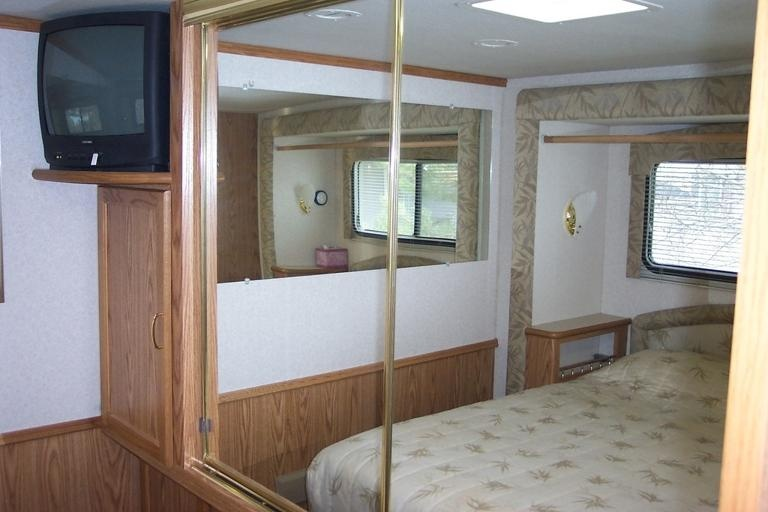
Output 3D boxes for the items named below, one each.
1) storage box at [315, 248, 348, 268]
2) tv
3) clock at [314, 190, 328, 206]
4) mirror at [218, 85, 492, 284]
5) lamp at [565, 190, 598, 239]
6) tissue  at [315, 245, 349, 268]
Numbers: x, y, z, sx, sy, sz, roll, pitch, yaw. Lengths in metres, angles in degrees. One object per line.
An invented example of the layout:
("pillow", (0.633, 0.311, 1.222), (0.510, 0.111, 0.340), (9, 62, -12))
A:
("storage box", (-0.239, 0.000, 2.605), (0.116, 0.067, 0.113), (-4, 10, -33))
("tv", (-1.223, -0.743, 2.715), (0.797, 0.685, 0.422), (7, 9, 25))
("clock", (-0.281, -0.259, 2.531), (0.073, 0.067, 0.017), (-6, 4, -4))
("mirror", (-0.317, -0.303, 3.101), (1.660, 0.795, 0.978), (-3, 1, -17))
("lamp", (0.884, -0.183, 2.526), (0.147, 0.188, 0.051), (12, -6, 4))
("tissue ", (-0.240, 0.010, 2.611), (0.152, 0.100, 0.105), (7, 11, 33))
